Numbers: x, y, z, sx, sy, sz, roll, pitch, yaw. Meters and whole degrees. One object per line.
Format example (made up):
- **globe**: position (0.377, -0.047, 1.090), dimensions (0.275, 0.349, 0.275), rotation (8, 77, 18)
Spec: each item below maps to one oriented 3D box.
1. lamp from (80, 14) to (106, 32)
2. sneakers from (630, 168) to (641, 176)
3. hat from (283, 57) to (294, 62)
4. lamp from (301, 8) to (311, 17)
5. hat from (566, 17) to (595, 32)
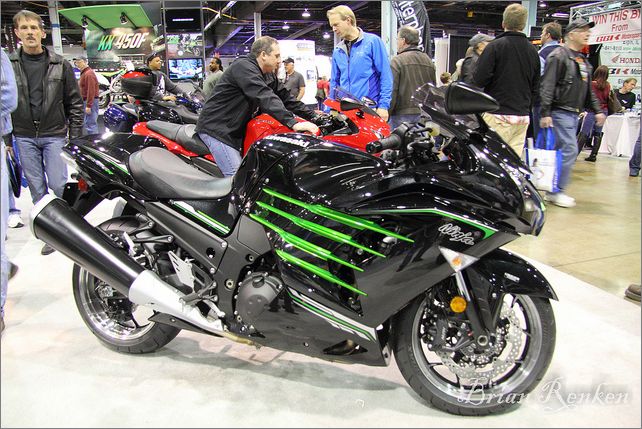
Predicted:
- **lamp**: position (-8.607, -7.210, 14.583), dimensions (0.319, 0.357, 0.932), rotation (-8, -19, 34)
- **sneakers**: position (6.492, -0.895, 8.058), dimensions (0.174, 0.141, 0.145), rotation (1, 4, -13)
- **hat**: position (-0.880, -4.331, 10.815), dimensions (0.261, 0.122, 0.171), rotation (8, 25, -35)
- **lamp**: position (-0.854, -12.567, 23.930), dimensions (0.480, 0.430, 0.442), rotation (5, 24, 13)
- **hat**: position (3.913, -2.933, 5.969), dimensions (0.297, 0.143, 0.423), rotation (-25, 23, -28)
